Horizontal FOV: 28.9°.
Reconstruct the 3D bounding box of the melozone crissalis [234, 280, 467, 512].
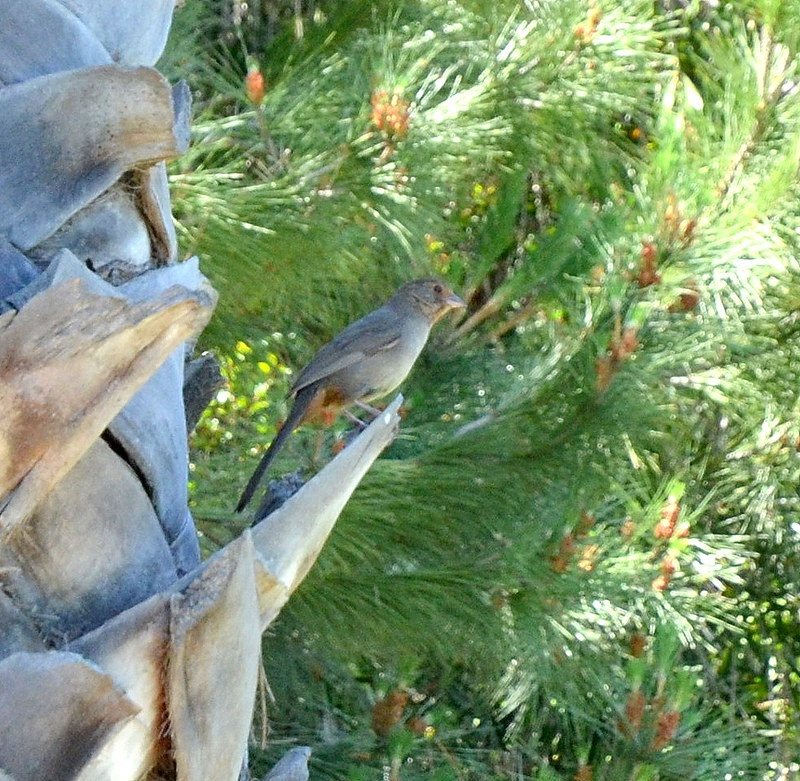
[{"bbox_3d":[-0.077,-0.026,2.204,0.363,0.114,0.194,-16,79,-2],"label":"melozone crissalis"}]
